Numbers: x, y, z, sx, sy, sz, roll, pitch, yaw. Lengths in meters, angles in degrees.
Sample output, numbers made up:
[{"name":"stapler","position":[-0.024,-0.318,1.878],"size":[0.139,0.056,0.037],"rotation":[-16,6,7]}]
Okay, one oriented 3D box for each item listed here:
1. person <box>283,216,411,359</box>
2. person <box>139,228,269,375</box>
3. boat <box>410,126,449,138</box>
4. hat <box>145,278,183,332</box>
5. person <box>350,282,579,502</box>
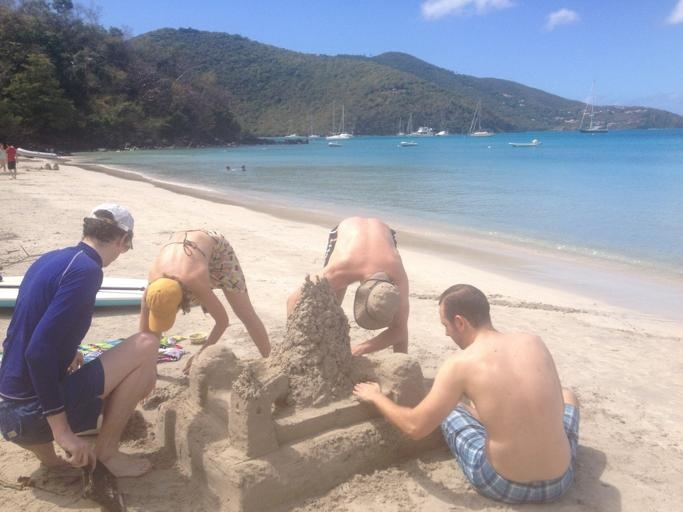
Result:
[{"name":"person","position":[0.030,0.244,5.411],"size":[1.167,1.083,2.042],"rotation":[-1,17,-10]},{"name":"person","position":[-1.383,0.363,4.998],"size":[1.252,1.287,0.848],"rotation":[-15,-29,2]},{"name":"boat","position":[21.466,-30.616,138.807],"size":[9.756,2.529,2.725],"rotation":[0,15,-19]},{"name":"hat","position":[-1.290,0.372,4.138],"size":[0.259,0.379,0.162],"rotation":[4,-9,2]},{"name":"person","position":[1.011,0.985,3.931],"size":[1.261,1.432,0.506],"rotation":[11,16,24]}]
